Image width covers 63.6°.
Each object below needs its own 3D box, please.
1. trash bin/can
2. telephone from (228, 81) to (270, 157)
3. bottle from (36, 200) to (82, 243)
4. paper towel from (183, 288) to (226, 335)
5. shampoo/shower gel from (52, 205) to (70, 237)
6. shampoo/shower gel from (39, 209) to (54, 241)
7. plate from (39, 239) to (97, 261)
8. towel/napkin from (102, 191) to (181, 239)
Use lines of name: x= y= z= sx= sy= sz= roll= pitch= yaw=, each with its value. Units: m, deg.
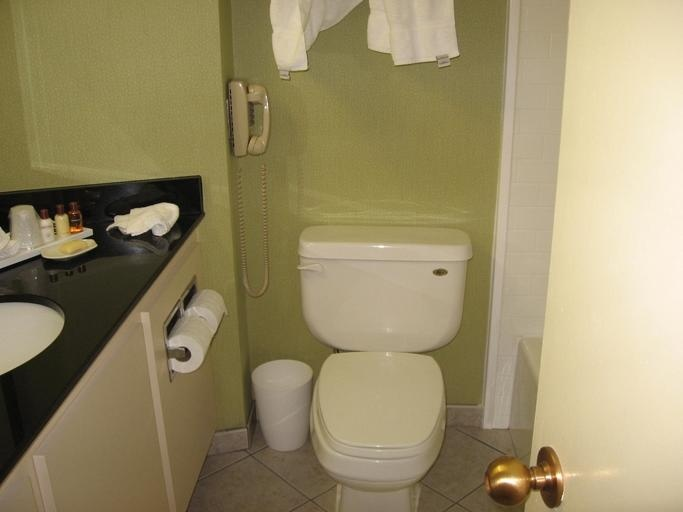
trash bin/can: x=-0.179 y=0.610 z=2.242 sx=0.267 sy=0.360 sz=0.302 roll=0 pitch=18 yaw=3
telephone: x=-0.302 y=-0.470 z=1.920 sx=0.127 sy=0.256 sz=0.127 roll=-1 pitch=5 yaw=0
bottle: x=-0.835 y=-0.099 z=1.616 sx=0.056 sy=0.081 sz=0.107 roll=16 pitch=24 yaw=18
paper towel: x=-0.428 y=0.176 z=1.737 sx=0.088 sy=0.089 sz=0.130 roll=-11 pitch=17 yaw=3
shampoo/shower gel: x=-0.820 y=-0.104 z=1.616 sx=0.032 sy=0.092 sz=0.032 roll=-12 pitch=31 yaw=-30
shampoo/shower gel: x=-0.837 y=-0.089 z=1.559 sx=0.034 sy=0.084 sz=0.064 roll=-11 pitch=16 yaw=-29
plate: x=-0.753 y=-0.022 z=1.522 sx=0.060 sy=0.029 sz=0.089 roll=7 pitch=20 yaw=31
towel/napkin: x=-0.639 y=-0.118 z=1.763 sx=0.228 sy=0.085 sz=0.223 roll=-7 pitch=15 yaw=-15
